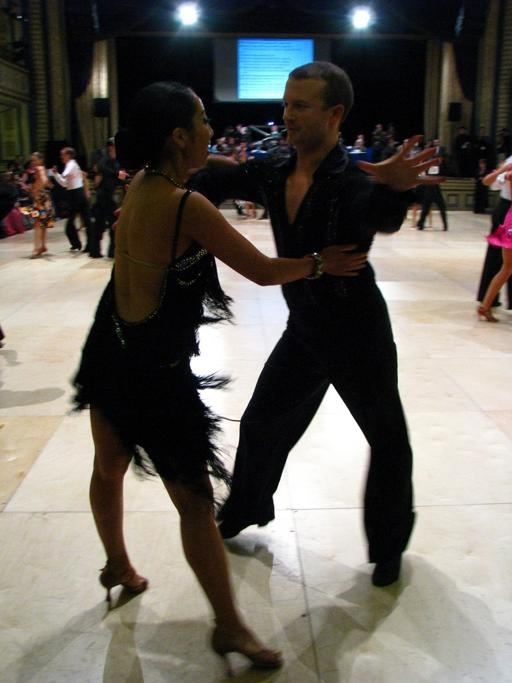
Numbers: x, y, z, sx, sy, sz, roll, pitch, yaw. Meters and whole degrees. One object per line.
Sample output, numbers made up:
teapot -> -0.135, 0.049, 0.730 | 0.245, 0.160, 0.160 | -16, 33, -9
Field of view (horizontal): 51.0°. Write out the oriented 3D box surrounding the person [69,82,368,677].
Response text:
person -> -0.206, 0.124, 1.410 | 0.648, 1.467, 0.373 | 5, 14, 18

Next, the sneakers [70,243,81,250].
sneakers -> -3.460, -1.812, 10.264 | 0.103, 0.116, 0.290 | -14, 33, -22
